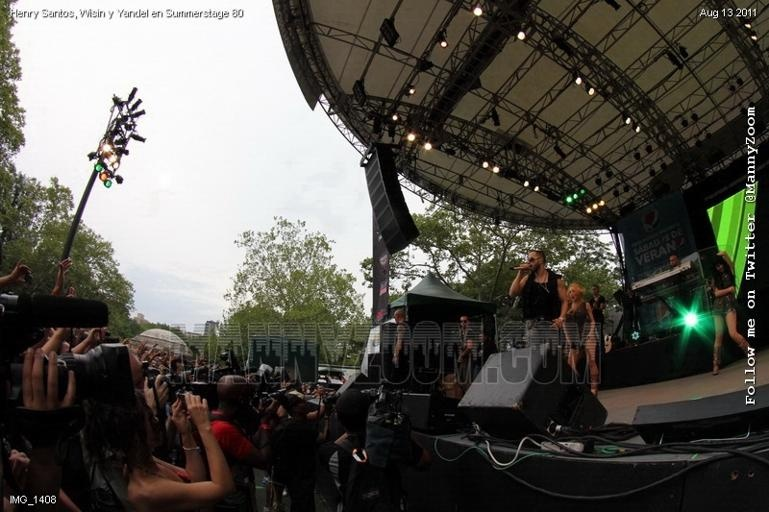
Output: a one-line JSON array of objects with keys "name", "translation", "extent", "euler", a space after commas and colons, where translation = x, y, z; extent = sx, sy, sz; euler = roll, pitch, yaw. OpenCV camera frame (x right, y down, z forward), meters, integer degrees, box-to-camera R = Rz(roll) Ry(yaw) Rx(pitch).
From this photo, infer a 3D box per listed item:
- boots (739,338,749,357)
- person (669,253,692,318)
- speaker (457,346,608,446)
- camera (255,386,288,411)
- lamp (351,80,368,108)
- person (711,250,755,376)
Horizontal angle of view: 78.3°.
[{"name": "boots", "translation": [4.843, 1.221, 6.356], "extent": [0.094, 0.243, 0.265], "euler": [-6, -17, 31]}, {"name": "person", "translation": [5.037, 0.455, 7.989], "extent": [0.263, 0.986, 0.543], "euler": [-5, -17, 31]}, {"name": "speaker", "translation": [1.233, 1.186, 4.083], "extent": [0.894, 0.716, 0.945], "euler": [-6, -23, -27]}, {"name": "camera", "translation": [-1.171, 1.403, 4.760], "extent": [0.326, 0.150, 0.341], "euler": [6, -9, -29]}, {"name": "lamp", "translation": [-0.724, -4.657, 13.343], "extent": [0.192, 0.502, 0.580], "euler": [-8, -47, -15]}, {"name": "person", "translation": [4.835, 0.716, 6.705], "extent": [0.417, 1.899, 1.141], "euler": [-7, -18, 36]}]
